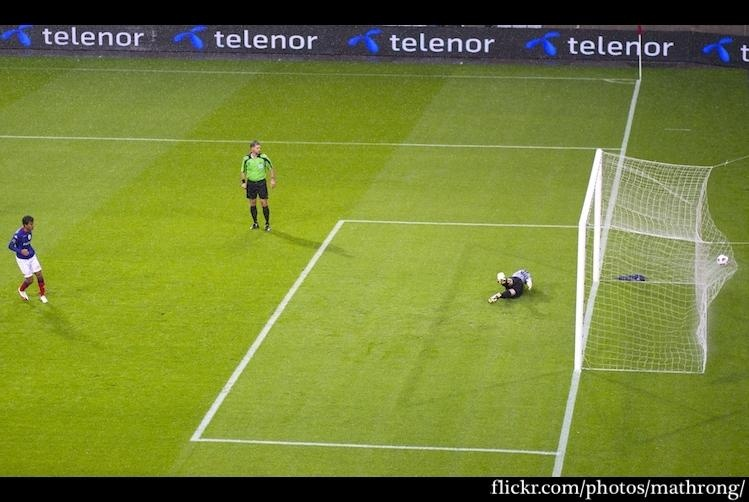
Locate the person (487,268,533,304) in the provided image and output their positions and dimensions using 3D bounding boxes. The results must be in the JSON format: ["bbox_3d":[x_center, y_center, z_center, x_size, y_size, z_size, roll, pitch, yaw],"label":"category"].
[{"bbox_3d":[2.560,0.644,15.878,0.512,0.235,0.885,13,19,27],"label":"person"}]

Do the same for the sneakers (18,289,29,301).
[{"bbox_3d":[-6.526,0.802,15.888,0.161,0.218,0.093,-36,27,-5],"label":"sneakers"}]

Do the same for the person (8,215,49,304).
[{"bbox_3d":[-6.363,0.117,15.676,0.493,1.677,0.853,-8,23,-21],"label":"person"}]
